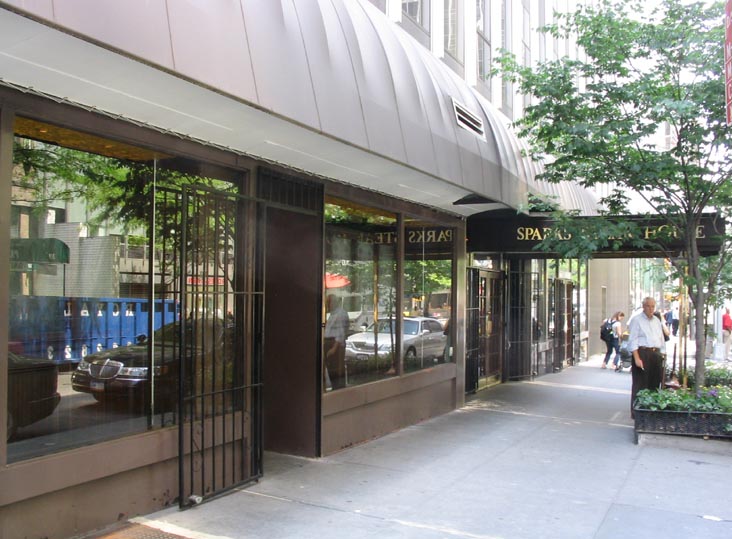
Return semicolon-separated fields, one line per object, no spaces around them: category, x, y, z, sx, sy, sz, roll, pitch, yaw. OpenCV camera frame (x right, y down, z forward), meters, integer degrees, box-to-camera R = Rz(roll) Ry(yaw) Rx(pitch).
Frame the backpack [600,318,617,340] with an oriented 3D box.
backpack;7.859;1.958;20.672;0.655;0.676;0.463;2;0;-36

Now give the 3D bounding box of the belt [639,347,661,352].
belt;5.121;1.442;11.370;0.393;0.081;0.101;1;-1;-12
